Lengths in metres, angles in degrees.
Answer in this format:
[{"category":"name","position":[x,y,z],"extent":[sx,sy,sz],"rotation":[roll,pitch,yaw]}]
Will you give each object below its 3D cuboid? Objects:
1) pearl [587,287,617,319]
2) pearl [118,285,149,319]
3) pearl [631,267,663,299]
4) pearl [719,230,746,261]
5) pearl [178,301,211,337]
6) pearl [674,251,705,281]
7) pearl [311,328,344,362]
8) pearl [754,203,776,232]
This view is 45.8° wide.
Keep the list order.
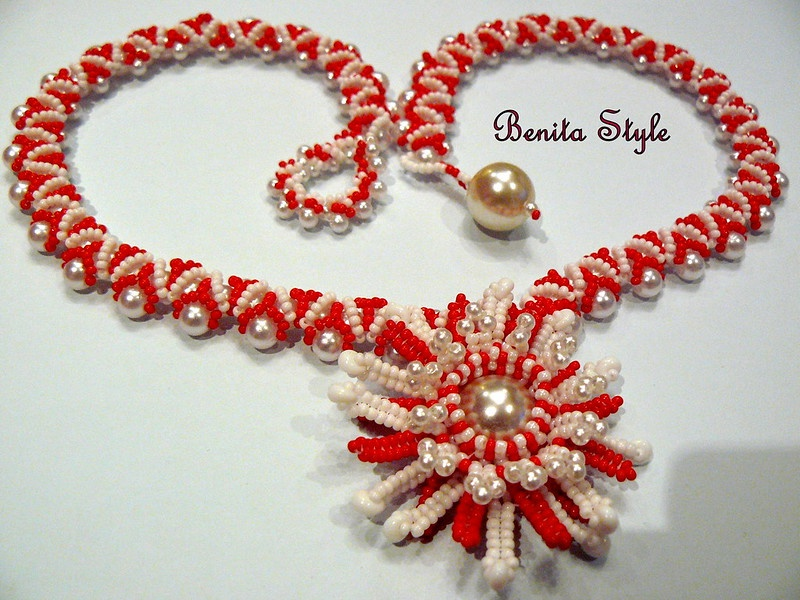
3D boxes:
[{"category":"pearl","position":[0.632,0.015,2.983],"extent":[0.084,0.108,0.083],"rotation":[-3,14,-16]},{"category":"pearl","position":[-0.825,0.009,2.958],"extent":[0.085,0.101,0.082],"rotation":[-40,21,-26]},{"category":"pearl","position":[0.788,-0.053,3.037],"extent":[0.089,0.103,0.089],"rotation":[3,-1,-23]},{"category":"pearl","position":[1.092,-0.172,3.137],"extent":[0.077,0.102,0.084],"rotation":[3,21,-4]},{"category":"pearl","position":[-0.624,0.060,2.900],"extent":[0.080,0.106,0.096],"rotation":[-7,52,-10]},{"category":"pearl","position":[0.935,-0.103,3.038],"extent":[0.074,0.107,0.078],"rotation":[3,-26,-22]},{"category":"pearl","position":[-0.217,0.138,2.829],"extent":[0.081,0.092,0.053],"rotation":[-18,-13,-3]},{"category":"pearl","position":[1.221,-0.271,3.159],"extent":[0.070,0.095,0.074],"rotation":[7,-2,3]}]
